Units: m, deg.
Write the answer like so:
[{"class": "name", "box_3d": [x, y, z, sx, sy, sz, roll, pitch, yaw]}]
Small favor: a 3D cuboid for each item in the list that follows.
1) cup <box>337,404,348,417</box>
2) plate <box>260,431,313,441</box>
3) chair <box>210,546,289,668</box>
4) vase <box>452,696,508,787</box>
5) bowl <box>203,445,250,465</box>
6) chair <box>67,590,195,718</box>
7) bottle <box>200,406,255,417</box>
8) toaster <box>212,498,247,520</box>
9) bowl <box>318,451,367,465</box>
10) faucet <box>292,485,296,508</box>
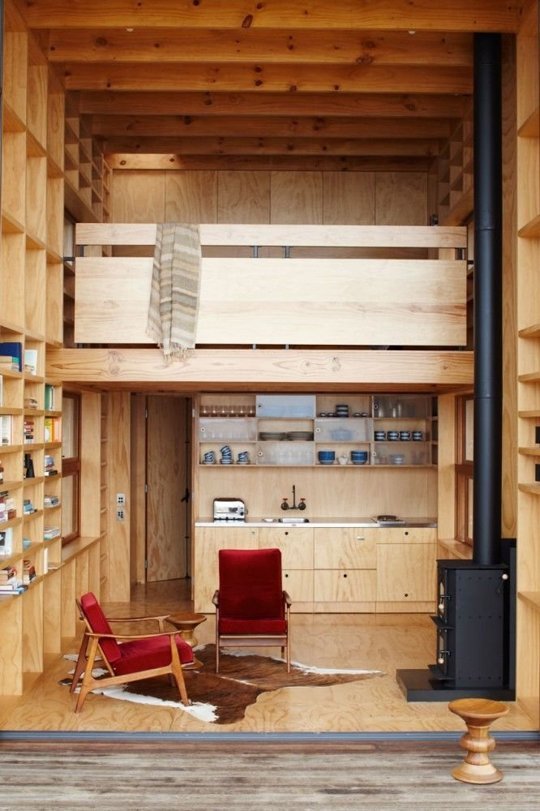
[{"class": "cup", "box_3d": [0.720, 0.064, 7.649, 0.110, 0.122, 0.112, 1, -3, 0]}, {"class": "plate", "box_3d": [0.154, 0.316, 7.649, 0.545, 0.096, 0.161, 1, -3, -8]}, {"class": "chair", "box_3d": [-0.135, 1.485, 5.543, 0.569, 0.852, 0.668, 1, -8, -2]}, {"class": "vase", "box_3d": [0.955, 1.659, 3.781, 0.318, 0.358, 0.326, 1, -8, 2]}, {"class": "bowl", "box_3d": [-0.447, 0.505, 7.682, 0.489, 0.198, 0.287, 1, -3, -4]}, {"class": "chair", "box_3d": [-0.879, 1.539, 4.901, 0.764, 0.648, 0.575, 1, -3, -20]}, {"class": "bottle", "box_3d": [-0.436, 0.069, 7.665, 0.543, 0.117, 0.107, 0, -3, -1]}, {"class": "toaster", "box_3d": [-0.392, 1.005, 7.322, 0.270, 0.198, 0.201, 0, -8, -1]}, {"class": "bowl", "box_3d": [0.734, 0.564, 7.643, 0.424, 0.127, 0.182, 1, -6, 0]}, {"class": "faucet", "box_3d": [0.237, 0.921, 7.791, 0.033, 0.209, 0.028, 0, -3, 1]}]
